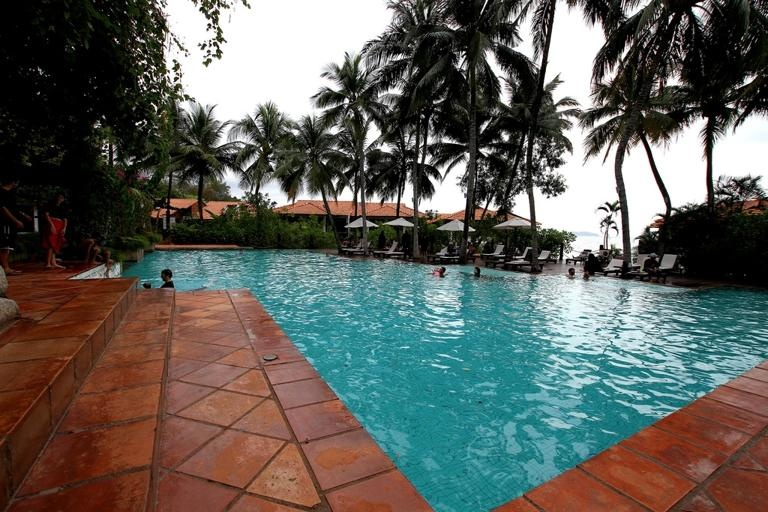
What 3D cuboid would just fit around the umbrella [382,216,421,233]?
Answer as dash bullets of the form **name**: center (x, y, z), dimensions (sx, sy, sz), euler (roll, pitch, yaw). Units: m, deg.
- **umbrella**: center (1.483, -2.238, 26.884), dimensions (1.807, 0.805, 1.837), euler (1, 1, -43)
